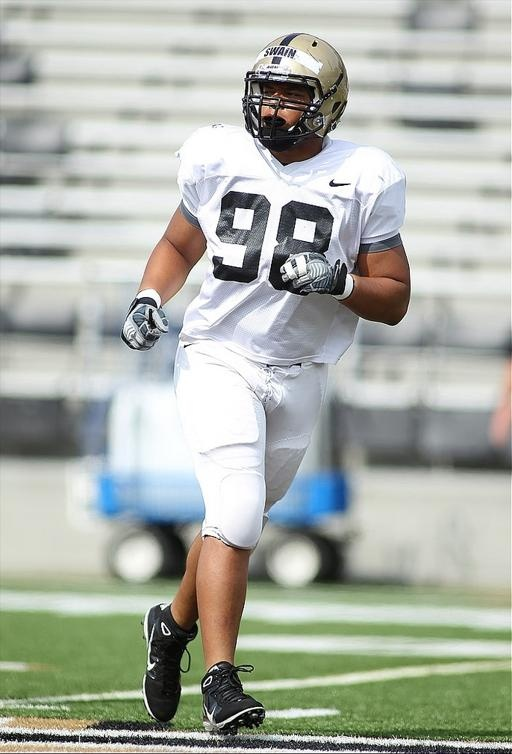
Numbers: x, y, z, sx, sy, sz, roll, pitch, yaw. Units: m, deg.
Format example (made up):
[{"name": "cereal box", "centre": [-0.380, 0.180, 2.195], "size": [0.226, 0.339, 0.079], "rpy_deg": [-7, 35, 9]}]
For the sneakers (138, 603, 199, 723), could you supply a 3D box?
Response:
[{"name": "sneakers", "centre": [-0.223, 0.661, 2.769], "size": [0.110, 0.298, 0.200], "rpy_deg": [4, -13, -37]}]

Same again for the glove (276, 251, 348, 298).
[{"name": "glove", "centre": [0.117, -0.200, 2.481], "size": [0.120, 0.089, 0.052], "rpy_deg": [12, 53, -16]}]

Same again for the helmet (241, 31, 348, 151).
[{"name": "helmet", "centre": [0.089, -0.672, 2.763], "size": [0.234, 0.220, 0.292], "rpy_deg": [9, 22, 13]}]

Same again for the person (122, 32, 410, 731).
[{"name": "person", "centre": [0.005, 0.075, 2.705], "size": [0.627, 1.517, 1.050], "rpy_deg": [4, 28, 6]}]

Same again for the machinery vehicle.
[{"name": "machinery vehicle", "centre": [-0.066, 0.520, 6.159], "size": [1.452, 1.018, 0.807], "rpy_deg": [-3, 4, 21]}]

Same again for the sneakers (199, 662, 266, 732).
[{"name": "sneakers", "centre": [-0.056, 0.647, 2.413], "size": [0.081, 0.094, 0.199], "rpy_deg": [-6, -6, -23]}]
